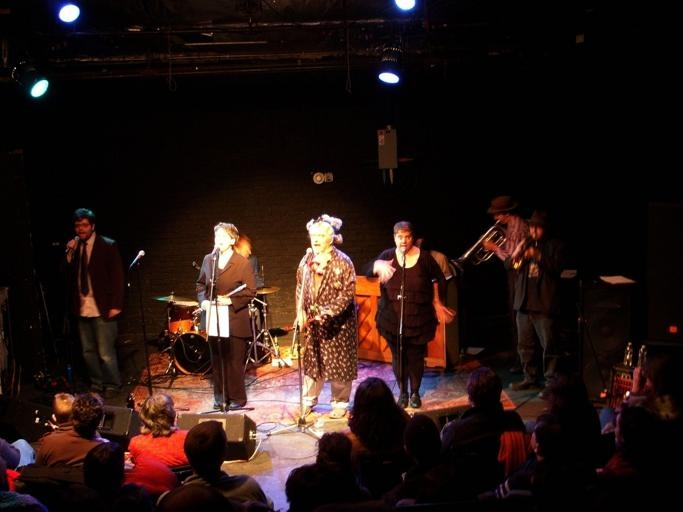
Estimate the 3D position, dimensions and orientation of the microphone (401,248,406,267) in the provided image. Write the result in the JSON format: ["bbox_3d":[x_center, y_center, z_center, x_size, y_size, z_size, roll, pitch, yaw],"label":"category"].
[{"bbox_3d":[0.676,0.037,6.694,0.045,0.167,0.051,-2,10,0],"label":"microphone"}]

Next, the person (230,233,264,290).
[{"bbox_3d":[-1.320,0.093,9.152,0.263,0.827,0.590,-22,20,-40],"label":"person"}]

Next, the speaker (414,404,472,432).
[{"bbox_3d":[0.898,1.378,5.258,0.359,0.094,0.337,-12,-12,38],"label":"speaker"}]

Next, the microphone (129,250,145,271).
[{"bbox_3d":[-3.106,0.060,9.150,0.103,0.348,0.095,38,-1,17],"label":"microphone"}]

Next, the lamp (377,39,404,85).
[{"bbox_3d":[0.600,-2.489,8.015,0.396,0.445,0.452,8,-16,-14],"label":"lamp"}]

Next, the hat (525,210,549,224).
[{"bbox_3d":[2.602,-0.503,8.095,0.210,0.191,0.237,10,-42,1],"label":"hat"}]

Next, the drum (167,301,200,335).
[{"bbox_3d":[-2.227,0.875,8.473,0.439,0.431,0.450,1,-6,-17],"label":"drum"}]

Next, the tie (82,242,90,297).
[{"bbox_3d":[-3.209,0.155,7.566,0.109,0.654,0.055,-1,-9,-13],"label":"tie"}]

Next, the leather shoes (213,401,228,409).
[{"bbox_3d":[-1.431,1.736,7.054,0.123,0.066,0.174,1,1,4],"label":"leather shoes"}]

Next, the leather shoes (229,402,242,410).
[{"bbox_3d":[-1.251,1.758,7.098,0.121,0.042,0.073,2,-40,-7],"label":"leather shoes"}]

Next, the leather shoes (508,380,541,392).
[{"bbox_3d":[2.271,1.631,7.595,0.362,0.176,0.144,2,-6,-7],"label":"leather shoes"}]

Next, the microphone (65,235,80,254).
[{"bbox_3d":[-3.384,-0.133,7.623,0.164,0.085,0.221,20,-47,-15],"label":"microphone"}]

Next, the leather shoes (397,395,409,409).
[{"bbox_3d":[0.699,1.658,6.933,0.142,0.215,0.146,-2,-2,3],"label":"leather shoes"}]

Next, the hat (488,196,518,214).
[{"bbox_3d":[2.213,-0.683,8.308,0.360,0.141,0.321,-19,8,-22],"label":"hat"}]

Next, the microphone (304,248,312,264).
[{"bbox_3d":[-0.382,0.019,6.725,0.128,0.183,0.075,-5,13,-34],"label":"microphone"}]
